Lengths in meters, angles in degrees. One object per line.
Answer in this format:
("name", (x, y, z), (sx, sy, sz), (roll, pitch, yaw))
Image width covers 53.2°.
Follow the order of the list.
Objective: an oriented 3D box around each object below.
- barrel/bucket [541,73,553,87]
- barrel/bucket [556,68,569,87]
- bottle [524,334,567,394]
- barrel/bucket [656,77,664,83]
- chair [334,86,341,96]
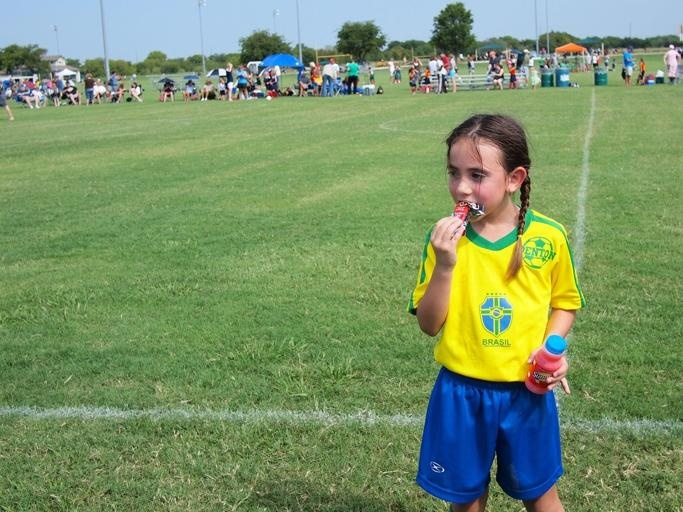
("barrel/bucket", (9.297, -8.023, 30.820), (0.592, 0.646, 0.608), (-1, 11, 0))
("barrel/bucket", (9.805, -7.937, 30.103), (0.731, 0.804, 0.730), (-2, 14, 1))
("bottle", (0.897, 0.483, 3.011), (0.167, 0.285, 0.147), (-2, 12, 2))
("barrel/bucket", (13.649, -7.598, 29.192), (0.292, 0.305, 1.048), (5, 15, 31))
("chair", (-0.217, -7.981, 32.664), (0.324, 0.380, 0.589), (-9, 23, 0))
